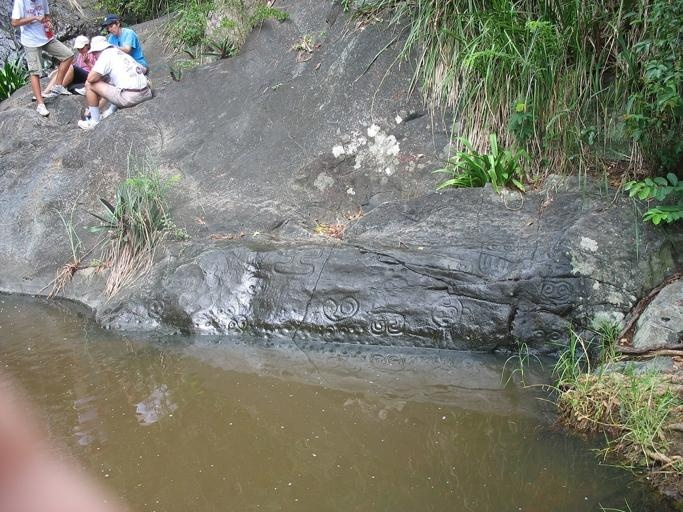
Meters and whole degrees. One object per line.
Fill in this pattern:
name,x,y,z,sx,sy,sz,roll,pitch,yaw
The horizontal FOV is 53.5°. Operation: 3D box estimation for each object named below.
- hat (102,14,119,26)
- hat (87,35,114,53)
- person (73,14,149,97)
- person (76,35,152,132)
hat,-3.425,-3.512,10.032,0.160,0.138,0.242,-17,2,25
hat,-3.382,-2.991,9.577,0.331,0.130,0.320,-31,26,-28
person,-3.334,-3.053,10.290,0.490,1.162,0.620,2,28,30
person,-3.317,-2.482,9.718,0.875,1.329,0.866,-2,13,-10
